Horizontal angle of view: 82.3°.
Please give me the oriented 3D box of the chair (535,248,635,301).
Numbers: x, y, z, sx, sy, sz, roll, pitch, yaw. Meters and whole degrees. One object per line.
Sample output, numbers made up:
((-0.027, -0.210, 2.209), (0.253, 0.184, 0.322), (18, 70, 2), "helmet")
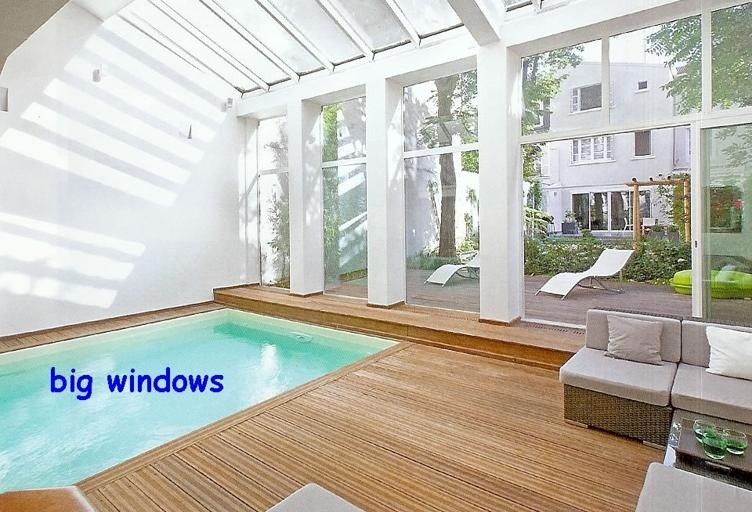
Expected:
((3.141, 0.278, 6.065), (0.954, 0.432, 0.522), (-13, -11, 24), "chair")

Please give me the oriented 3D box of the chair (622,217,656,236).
((3.056, -0.334, 4.949), (0.217, 0.310, 0.217), (-2, 0, -17), "chair")

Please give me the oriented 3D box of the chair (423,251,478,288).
((1.228, 0.288, 7.206), (0.742, 0.435, 0.400), (-4, 0, -22), "chair")

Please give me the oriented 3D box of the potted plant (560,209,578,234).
((2.656, -0.467, 5.954), (0.252, 0.369, 0.182), (7, 14, 37), "potted plant")
